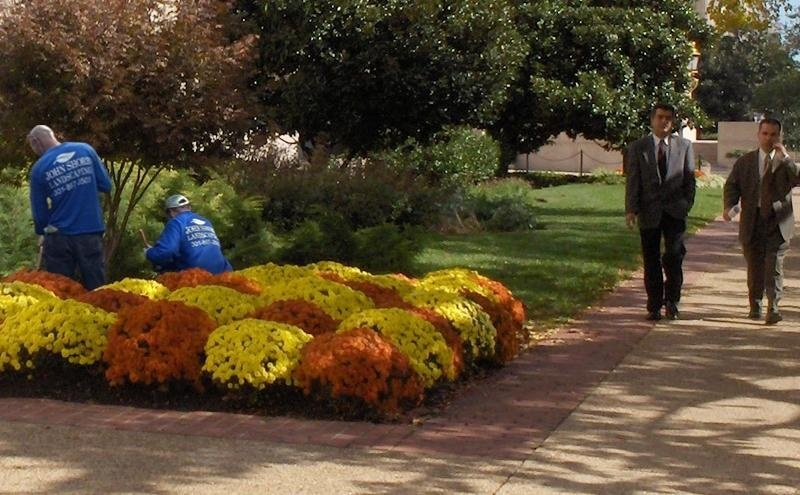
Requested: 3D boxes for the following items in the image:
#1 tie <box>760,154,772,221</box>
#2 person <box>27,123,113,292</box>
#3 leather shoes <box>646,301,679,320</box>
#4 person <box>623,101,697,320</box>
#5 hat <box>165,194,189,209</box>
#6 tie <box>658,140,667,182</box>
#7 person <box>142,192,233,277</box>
[{"bbox_3d":[4.845,-0.849,14.669,0.195,0.865,0.085,-2,5,16],"label":"tie"},{"bbox_3d":[-4.184,-0.519,14.029,0.957,2.112,0.321,-5,5,-16],"label":"person"},{"bbox_3d":[3.597,0.853,14.951,0.559,0.194,0.182,-12,16,-28],"label":"leather shoes"},{"bbox_3d":[3.474,-0.487,14.748,0.916,2.907,0.653,-3,5,9],"label":"person"},{"bbox_3d":[-2.962,-0.618,14.402,0.286,0.125,0.211,5,9,29],"label":"hat"},{"bbox_3d":[3.481,-1.174,14.690,0.111,0.512,0.104,-2,5,13],"label":"tie"},{"bbox_3d":[-2.928,-0.161,15.253,1.194,1.409,0.872,-12,20,-33],"label":"person"}]
